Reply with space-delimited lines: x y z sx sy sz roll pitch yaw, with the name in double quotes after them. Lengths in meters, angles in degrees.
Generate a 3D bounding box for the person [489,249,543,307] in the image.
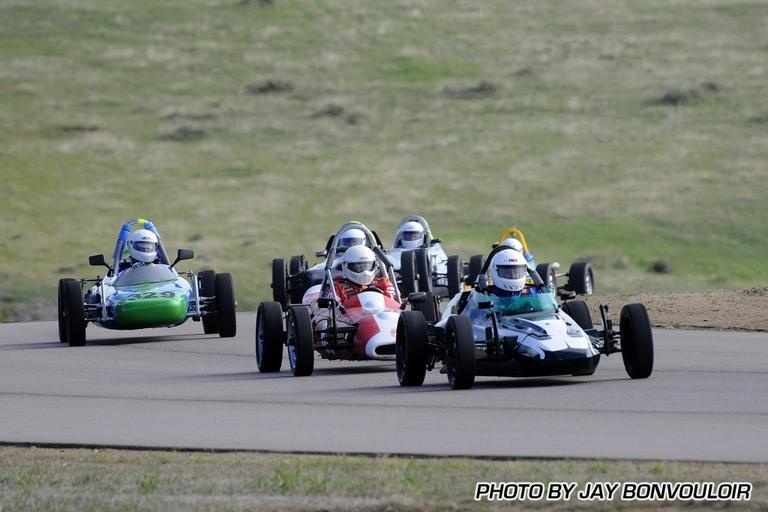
3.865 0.502 47.463 1.417 1.350 0.599 -1 10 0 "person"

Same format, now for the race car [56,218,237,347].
-8.804 0.930 58.756 6.320 4.133 9.522 -3 6 -8 "race car"
